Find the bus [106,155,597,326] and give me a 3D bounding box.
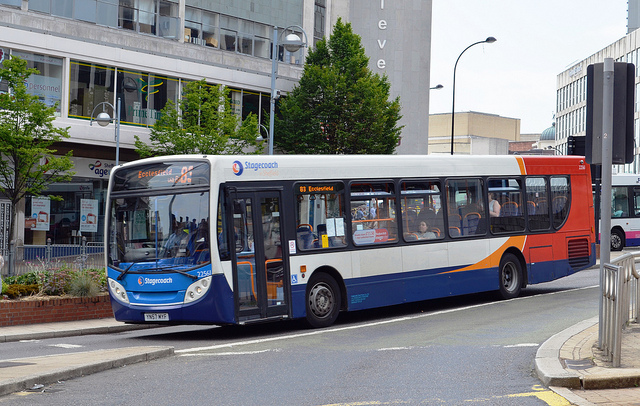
[{"bbox_3d":[2.391,1.027,21.490,13.447,4.018,3.402,-3,-3,-29],"label":"bus"}]
